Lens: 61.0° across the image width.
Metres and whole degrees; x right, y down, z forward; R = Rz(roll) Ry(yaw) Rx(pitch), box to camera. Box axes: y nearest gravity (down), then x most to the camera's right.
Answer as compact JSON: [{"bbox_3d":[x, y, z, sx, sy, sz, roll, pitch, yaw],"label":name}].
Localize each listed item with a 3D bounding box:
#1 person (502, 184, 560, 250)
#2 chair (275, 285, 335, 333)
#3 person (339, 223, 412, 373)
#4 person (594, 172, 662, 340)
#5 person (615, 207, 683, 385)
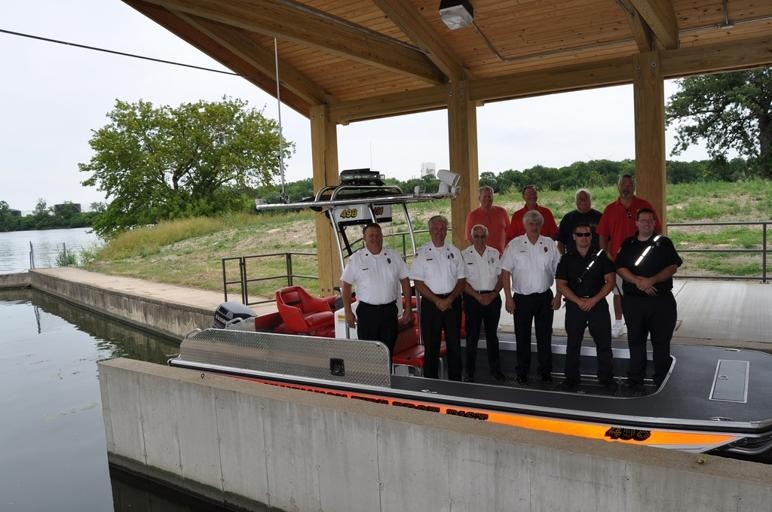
[{"bbox_3d":[2.111,-0.377,9.425,0.742,1.332,0.329,-3,-11,11],"label":"person"},{"bbox_3d":[-1.108,0.817,9.056,0.708,0.827,0.689,-10,4,-29],"label":"chair"},{"bbox_3d":[-0.101,0.670,8.069,0.807,2.134,0.553,-4,16,-6],"label":"person"},{"bbox_3d":[3.119,-0.023,8.733,0.568,2.084,0.762,13,-6,-30],"label":"person"},{"bbox_3d":[3.009,0.483,7.490,0.663,2.107,0.567,0,6,33],"label":"person"}]
